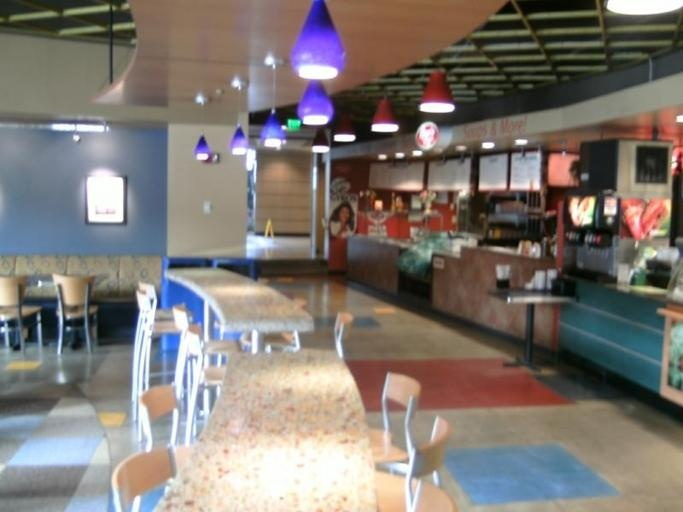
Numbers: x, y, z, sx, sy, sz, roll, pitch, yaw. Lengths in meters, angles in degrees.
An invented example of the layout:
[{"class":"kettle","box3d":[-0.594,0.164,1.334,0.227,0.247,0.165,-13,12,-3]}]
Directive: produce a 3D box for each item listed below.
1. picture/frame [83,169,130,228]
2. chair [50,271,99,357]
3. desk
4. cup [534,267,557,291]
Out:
[{"class":"picture/frame","box3d":[-3.999,-1.002,9.934,0.908,1.133,0.125,0,2,-8]},{"class":"chair","box3d":[-3.810,0.776,8.478,0.575,1.097,1.026,-3,9,-25]},{"class":"desk","box3d":[2.479,0.927,7.854,1.093,1.038,0.968,-1,8,-14]},{"class":"cup","box3d":[2.628,0.300,7.780,0.387,0.401,0.226,0,-1,-10]}]
